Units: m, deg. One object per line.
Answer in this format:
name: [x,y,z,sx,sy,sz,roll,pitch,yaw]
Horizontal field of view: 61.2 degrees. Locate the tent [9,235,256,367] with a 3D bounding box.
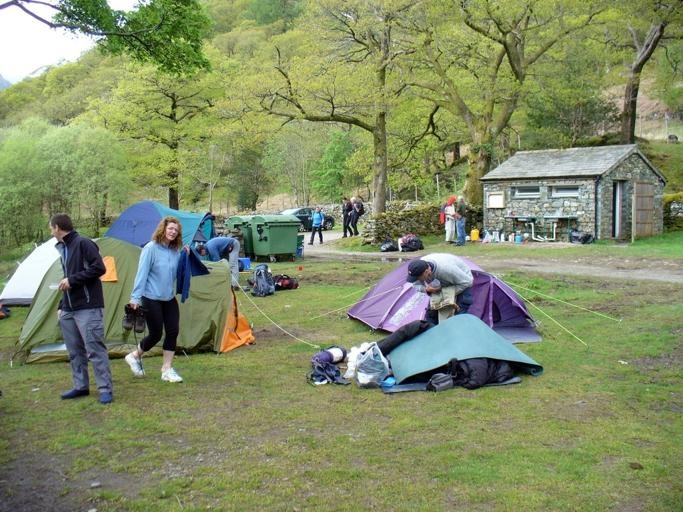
tent: [-3.531,0.983,10.388,2.305,1.539,3.026,1,3,28]

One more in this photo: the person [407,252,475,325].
person: [1.623,0.573,9.733,1.337,1.192,0.536,-5,11,-25]

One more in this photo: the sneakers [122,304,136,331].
sneakers: [-3.166,0.904,8.560,0.191,0.405,0.283,-9,13,-41]

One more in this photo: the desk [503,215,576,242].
desk: [8.937,-1.270,26.083,3.190,1.105,0.415,9,13,44]

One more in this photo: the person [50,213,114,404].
person: [-3.690,0.745,8.219,0.925,2.656,0.566,6,11,33]

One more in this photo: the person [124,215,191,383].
person: [-2.847,0.698,8.920,0.973,2.582,0.742,-9,13,-40]

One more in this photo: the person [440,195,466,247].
person: [4.916,-1.581,25.399,0.677,2.072,1.353,-3,10,-13]

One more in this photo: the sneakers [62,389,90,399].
sneakers: [-3.903,2.005,8.432,0.294,0.134,0.157,5,-3,-9]

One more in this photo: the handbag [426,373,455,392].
handbag: [1.512,1.927,8.843,0.297,0.133,0.258,-10,-28,-6]

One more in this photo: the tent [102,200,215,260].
tent: [-5.151,-0.921,17.183,2.410,1.095,2.514,1,-1,16]

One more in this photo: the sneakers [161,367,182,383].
sneakers: [-2.686,1.858,9.039,0.411,0.213,0.154,3,4,21]

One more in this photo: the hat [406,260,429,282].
hat: [1.218,0.234,9.302,0.341,0.343,0.262,1,10,8]

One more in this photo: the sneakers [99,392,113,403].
sneakers: [-3.345,2.001,8.189,0.179,0.189,0.124,-1,2,2]
